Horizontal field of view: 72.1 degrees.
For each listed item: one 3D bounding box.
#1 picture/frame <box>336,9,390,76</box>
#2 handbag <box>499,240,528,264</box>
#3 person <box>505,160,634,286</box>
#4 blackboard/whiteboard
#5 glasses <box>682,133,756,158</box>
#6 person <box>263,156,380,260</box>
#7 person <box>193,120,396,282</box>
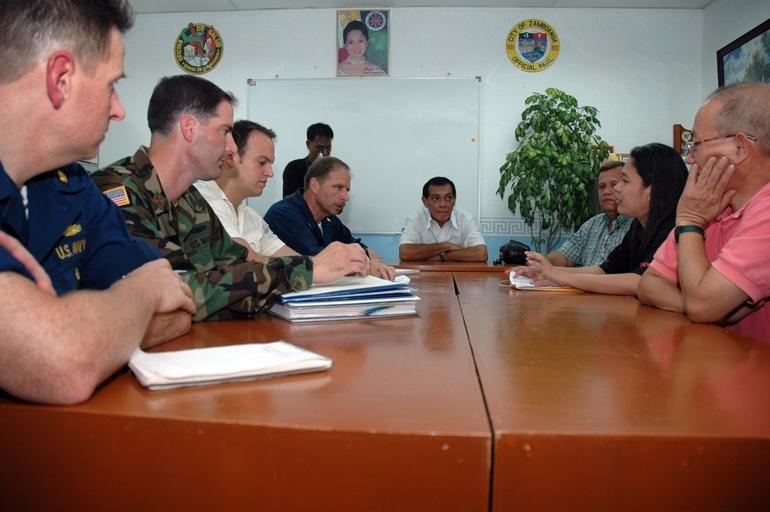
[{"bbox_3d":[-0.177,-1.952,4.782,0.599,0.715,0.060,0,5,6],"label":"picture/frame"},{"bbox_3d":[0.767,-0.021,3.185,0.162,0.143,0.124,-12,22,-3],"label":"handbag"},{"bbox_3d":[1.244,-0.129,3.247,0.732,0.801,0.511,-1,7,-27],"label":"person"},{"bbox_3d":[-0.096,-0.906,4.390,1.544,1.045,0.065,0,3,1],"label":"blackboard/whiteboard"},{"bbox_3d":[0.958,-0.317,1.515,0.099,0.031,0.099,-7,7,44],"label":"glasses"},{"bbox_3d":[-0.407,-0.316,3.315,0.761,0.648,0.574,6,5,23],"label":"person"},{"bbox_3d":[-0.372,-0.274,2.434,0.881,0.639,0.684,3,0,8],"label":"person"}]
